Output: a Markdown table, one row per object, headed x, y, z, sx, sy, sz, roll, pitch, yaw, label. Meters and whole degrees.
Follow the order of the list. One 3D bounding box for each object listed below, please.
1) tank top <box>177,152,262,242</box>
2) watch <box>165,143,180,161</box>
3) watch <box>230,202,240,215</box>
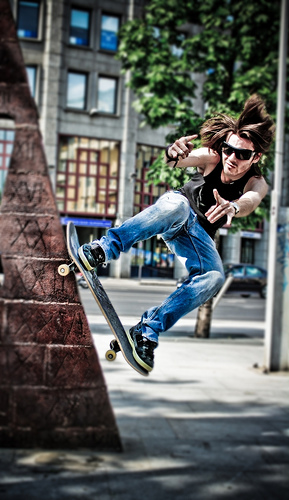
| x | y | z | sx | sy | sz | roll | pitch | yaw | label |
| --- | --- | --- | --- | --- | --- | --- | --- | --- | --- |
| 0.503 | -0.392 | 3.670 | 0.388 | 0.595 | 0.540 | 1 | -3 | 43 | tank top |
| 0.186 | -0.638 | 3.336 | 0.026 | 0.095 | 0.099 | -3 | 12 | 27 | watch |
| 0.572 | -0.256 | 3.179 | 0.016 | 0.064 | 0.067 | -24 | 19 | -6 | watch |
